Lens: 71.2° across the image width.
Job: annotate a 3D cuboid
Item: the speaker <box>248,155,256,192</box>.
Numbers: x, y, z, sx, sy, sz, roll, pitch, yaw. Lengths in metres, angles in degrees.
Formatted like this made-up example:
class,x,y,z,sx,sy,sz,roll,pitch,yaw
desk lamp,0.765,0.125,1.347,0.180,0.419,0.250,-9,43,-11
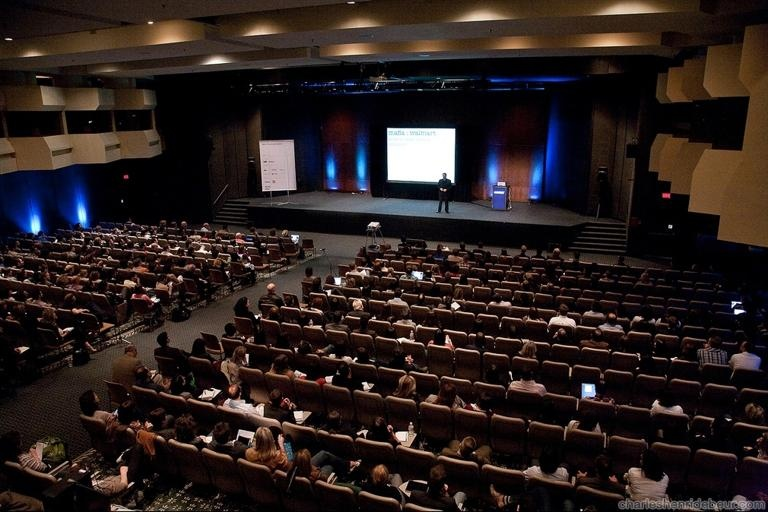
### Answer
class,x,y,z,sx,sy,sz,roll,pitch,yaw
speaker,-6.652,-3.918,27.110,0.454,1.902,0.291,1,11,-10

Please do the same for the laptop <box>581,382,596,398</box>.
class,x,y,z,sx,sy,sz,roll,pitch,yaw
laptop,4.026,2.665,10.487,0.273,0.243,0.549,7,11,21

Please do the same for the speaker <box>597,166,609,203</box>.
class,x,y,z,sx,sy,sz,roll,pitch,yaw
speaker,8.840,-2.783,21.508,0.546,1.388,0.354,7,12,21

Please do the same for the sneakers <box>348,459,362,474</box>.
class,x,y,z,sx,sy,sz,roll,pitch,yaw
sneakers,-0.503,3.715,9.418,0.197,0.093,0.298,6,3,-30

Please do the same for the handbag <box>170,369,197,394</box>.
class,x,y,z,sx,sy,sz,roll,pitch,yaw
handbag,-4.049,2.584,10.925,0.611,0.421,0.820,5,-5,-4

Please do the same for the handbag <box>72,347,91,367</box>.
class,x,y,z,sx,sy,sz,roll,pitch,yaw
handbag,-7.424,2.497,13.142,0.235,0.297,0.404,7,10,24

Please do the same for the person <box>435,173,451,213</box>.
class,x,y,z,sx,sy,sz,roll,pitch,yaw
person,2.683,-2.701,23.354,0.555,1.638,1.465,4,11,6
